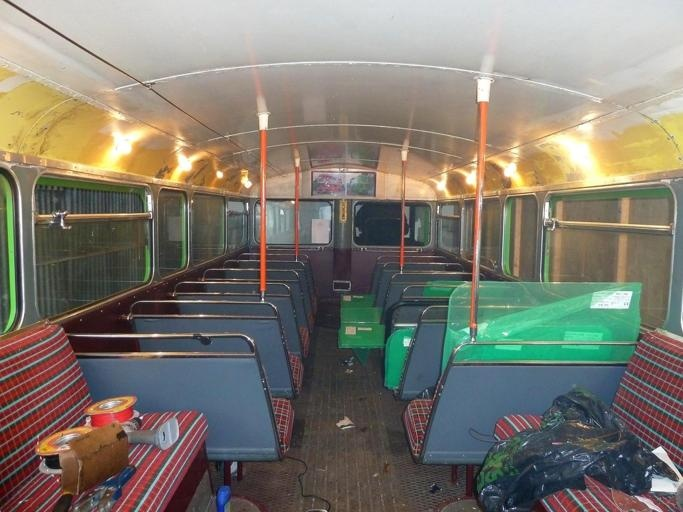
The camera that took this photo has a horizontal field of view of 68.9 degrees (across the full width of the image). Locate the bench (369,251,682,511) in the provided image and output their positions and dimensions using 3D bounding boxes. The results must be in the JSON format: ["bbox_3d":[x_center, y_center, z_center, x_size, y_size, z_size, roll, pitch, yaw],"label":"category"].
[{"bbox_3d":[1.485,0.966,4.650,2.595,1.457,1.484,0,4,-2],"label":"bench"}]
